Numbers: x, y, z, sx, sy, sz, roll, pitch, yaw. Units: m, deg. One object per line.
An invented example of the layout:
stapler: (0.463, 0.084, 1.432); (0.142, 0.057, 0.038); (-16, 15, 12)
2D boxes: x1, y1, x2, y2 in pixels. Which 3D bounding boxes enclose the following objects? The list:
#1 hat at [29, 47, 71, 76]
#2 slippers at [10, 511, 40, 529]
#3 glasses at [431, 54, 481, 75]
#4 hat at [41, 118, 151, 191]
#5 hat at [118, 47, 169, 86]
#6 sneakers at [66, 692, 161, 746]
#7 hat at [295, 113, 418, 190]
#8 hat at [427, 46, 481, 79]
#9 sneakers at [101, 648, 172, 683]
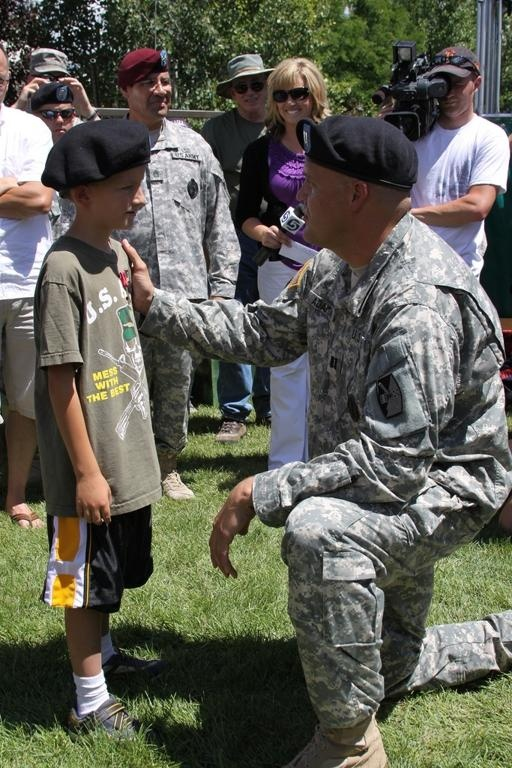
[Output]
hat: (-1.380, -2.122, 4.954); (0.253, 0.153, 0.309); (-6, 19, -28)
slippers: (-1.117, 0.665, 3.621); (0.073, 0.038, 0.135); (1, 0, -33)
glasses: (1.008, -1.627, 3.731); (0.177, 0.119, 0.246); (11, 19, 27)
hat: (-0.404, -0.591, 1.895); (0.272, 0.184, 0.129); (-4, 10, -19)
hat: (-0.543, -1.495, 3.544); (0.208, 0.111, 0.184); (-6, 28, 24)
sneakers: (-0.371, 0.874, 1.928); (0.244, 0.098, 0.088); (1, 7, -1)
hat: (0.244, -0.534, 1.801); (0.255, 0.096, 0.173); (14, 25, -7)
hat: (1.015, -1.629, 3.751); (0.217, 0.143, 0.293); (10, 20, 26)
sneakers: (-0.363, 0.859, 2.268); (0.208, 0.080, 0.066); (-2, 4, -10)
